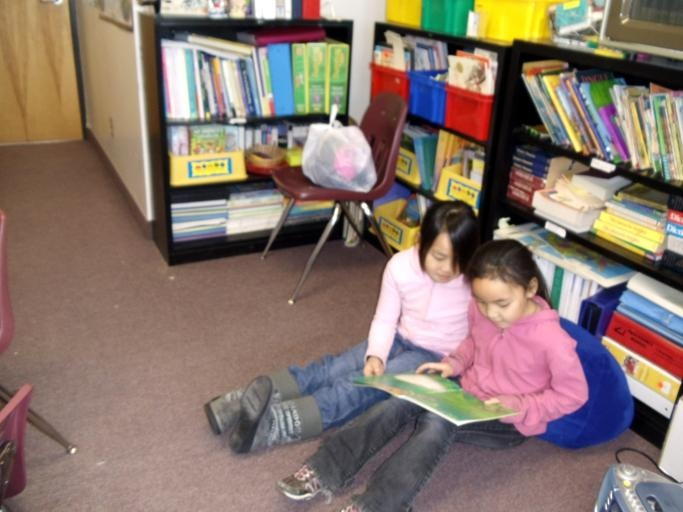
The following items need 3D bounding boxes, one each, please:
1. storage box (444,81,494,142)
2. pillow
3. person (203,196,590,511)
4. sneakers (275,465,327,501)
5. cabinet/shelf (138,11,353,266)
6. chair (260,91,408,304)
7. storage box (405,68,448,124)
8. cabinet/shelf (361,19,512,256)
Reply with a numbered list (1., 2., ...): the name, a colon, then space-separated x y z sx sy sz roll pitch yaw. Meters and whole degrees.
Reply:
1. storage box: 0.677 -0.737 2.633 0.189 0.228 0.312 -31 42 -27
2. pillow: 0.970 0.502 2.137 0.375 0.404 0.401 11 11 -7
3. person: 0.091 0.138 2.129 1.330 0.936 0.582 -19 34 -21
4. sneakers: -0.123 0.736 1.747 0.179 0.101 0.077 2 -22 -43
5. cabinet/shelf: -0.489 -0.627 2.967 0.957 1.275 0.414 -4 22 -17
6. chair: -0.051 -0.382 2.937 0.777 0.995 0.839 19 28 27
7. storage box: 0.457 -0.858 2.814 0.200 0.187 0.273 -24 39 -35
8. cabinet/shelf: 0.557 -0.701 3.132 0.404 1.223 1.225 -22 36 -30
